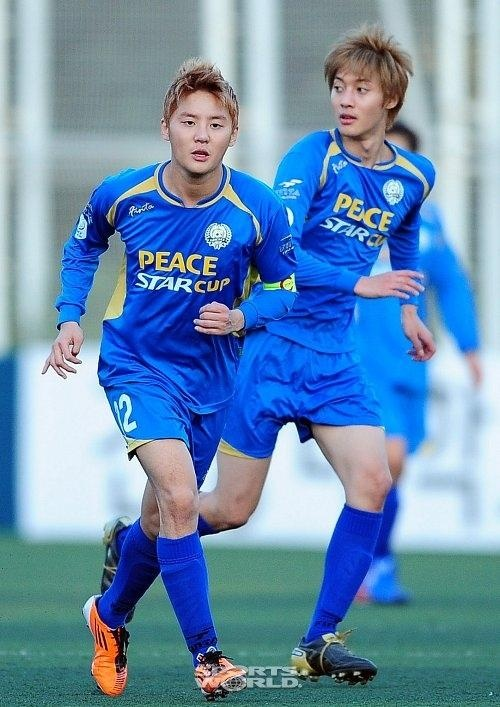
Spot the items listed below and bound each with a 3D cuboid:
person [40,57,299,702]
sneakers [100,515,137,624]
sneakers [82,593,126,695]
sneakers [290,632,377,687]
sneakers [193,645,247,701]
[{"bbox_3d":[-0.222,0.091,2.889,0.754,1.719,0.558,6,8,23],"label":"person"},{"bbox_3d":[-0.439,0.676,3.471,0.130,0.359,0.167,-3,12,-21],"label":"sneakers"},{"bbox_3d":[-0.409,0.826,3.033,0.092,0.265,0.116,6,-37,-41],"label":"sneakers"},{"bbox_3d":[0.226,0.857,3.018,0.299,0.151,0.109,-7,-20,36],"label":"sneakers"},{"bbox_3d":[-0.089,0.785,2.665,0.070,0.089,0.178,-39,5,-15],"label":"sneakers"}]
